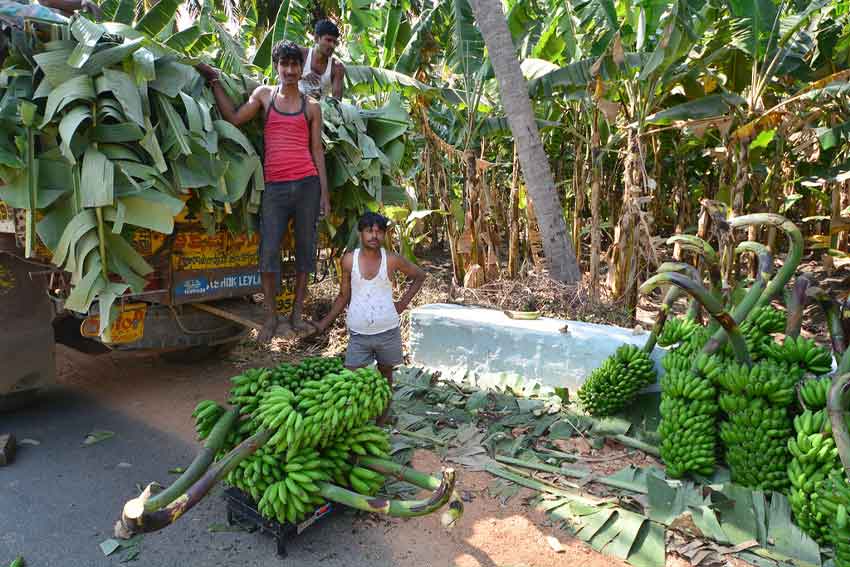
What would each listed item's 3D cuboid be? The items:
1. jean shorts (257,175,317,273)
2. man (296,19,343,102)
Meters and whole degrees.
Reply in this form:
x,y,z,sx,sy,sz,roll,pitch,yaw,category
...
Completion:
x,y,z,sx,sy,sz,roll,pitch,yaw,category
-1.425,-0.659,5.779,0.590,1.104,0.384,0,5,-16,jean shorts
-1.229,-2.578,6.495,0.570,0.952,0.512,19,30,5,man
